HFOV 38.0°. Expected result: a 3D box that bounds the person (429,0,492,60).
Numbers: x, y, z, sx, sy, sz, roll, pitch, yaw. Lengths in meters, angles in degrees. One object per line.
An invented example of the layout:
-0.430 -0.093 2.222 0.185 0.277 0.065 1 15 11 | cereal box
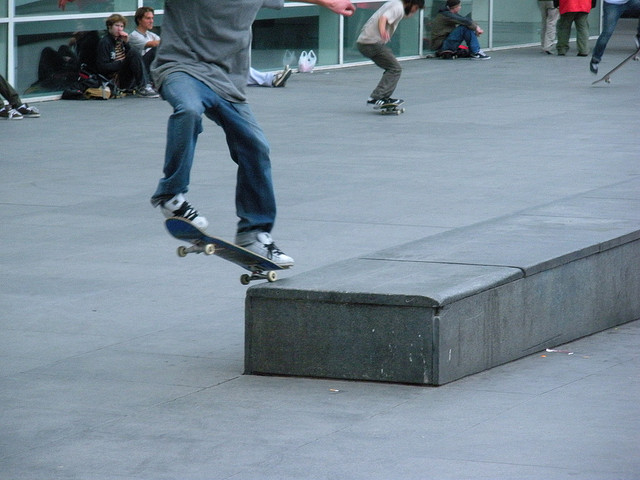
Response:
3.595 -5.636 25.065 1.697 1.586 0.621 7 19 43 | person

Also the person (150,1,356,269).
-0.712 -0.684 6.135 0.928 1.779 0.705 -8 15 -9 | person

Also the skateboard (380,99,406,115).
1.146 -2.153 15.059 0.579 0.144 0.538 0 5 4 | skateboard

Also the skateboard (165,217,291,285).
-0.638 0.060 6.051 1.056 0.125 0.346 17 -23 -25 | skateboard
